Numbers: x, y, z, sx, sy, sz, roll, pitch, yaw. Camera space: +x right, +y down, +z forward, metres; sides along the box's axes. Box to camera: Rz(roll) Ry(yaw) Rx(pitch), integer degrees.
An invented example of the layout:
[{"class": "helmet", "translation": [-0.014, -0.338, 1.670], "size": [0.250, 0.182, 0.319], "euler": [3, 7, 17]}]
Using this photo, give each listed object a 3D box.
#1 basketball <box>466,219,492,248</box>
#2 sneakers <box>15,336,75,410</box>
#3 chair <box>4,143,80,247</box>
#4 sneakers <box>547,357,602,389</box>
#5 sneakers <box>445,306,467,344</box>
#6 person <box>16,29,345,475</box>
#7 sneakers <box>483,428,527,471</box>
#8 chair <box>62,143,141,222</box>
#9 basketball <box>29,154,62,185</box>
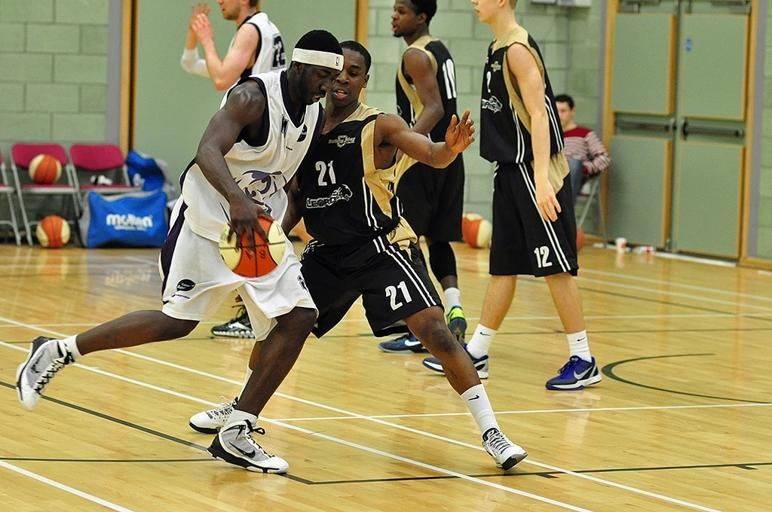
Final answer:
[{"class": "basketball", "translation": [1.258, -0.311, 10.500], "size": [0.374, 0.395, 0.384], "euler": [-2, 2, -42]}, {"class": "sneakers", "translation": [-1.565, 0.495, 3.379], "size": [0.166, 0.382, 0.122], "euler": [26, 27, 1]}, {"class": "chair", "translation": [-4.565, -0.883, 10.103], "size": [0.900, 1.315, 1.057], "euler": [-8, 3, -39]}, {"class": "sneakers", "translation": [1.179, 0.724, 4.719], "size": [0.350, 0.163, 0.161], "euler": [-5, -1, -24]}, {"class": "sneakers", "translation": [0.508, 0.512, 5.267], "size": [0.129, 0.333, 0.153], "euler": [-7, 47, 4]}, {"class": "person", "translation": [-0.805, -0.026, 3.297], "size": [1.166, 1.905, 0.499], "euler": [2, 8, 2]}, {"class": "sneakers", "translation": [0.526, 0.872, 3.438], "size": [0.130, 0.162, 0.352], "euler": [-21, -2, -12]}, {"class": "chair", "translation": [-3.763, -0.920, 9.984], "size": [0.717, 0.994, 0.755], "euler": [23, 24, 39]}, {"class": "basketball", "translation": [-4.343, -1.088, 9.626], "size": [0.397, 0.405, 0.379], "euler": [21, 0, -17]}]
